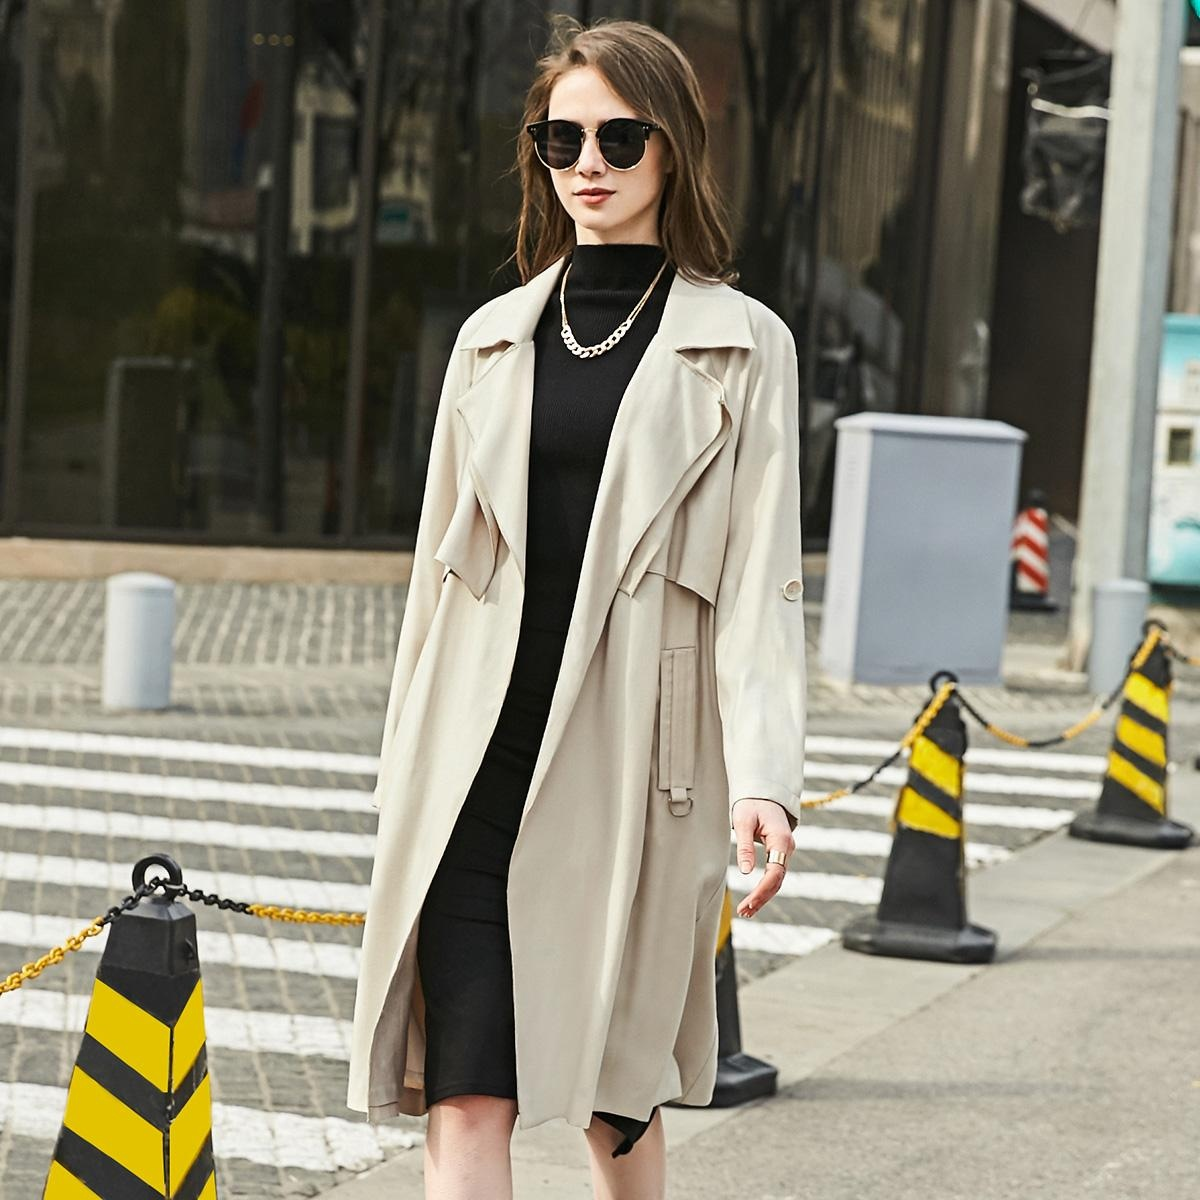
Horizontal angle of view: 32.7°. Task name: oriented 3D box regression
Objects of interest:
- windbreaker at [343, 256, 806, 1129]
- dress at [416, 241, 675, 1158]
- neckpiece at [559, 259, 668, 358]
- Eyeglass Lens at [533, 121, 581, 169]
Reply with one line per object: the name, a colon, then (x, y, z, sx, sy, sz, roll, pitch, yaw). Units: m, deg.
windbreaker: (-0.025, 0.158, 3.328, 0.711, 1.406, 0.478, 2, 7, 5)
dress: (-0.139, 0.181, 3.425, 0.362, 1.490, 0.375, 7, -8, -8)
neckpiece: (0.015, -0.452, 3.381, 0.112, 0.222, 0.039, 12, -20, 32)
Eyeglass Lens: (-0.067, -0.758, 3.404, 0.082, 0.032, 0.085, 3, 4, 5)
